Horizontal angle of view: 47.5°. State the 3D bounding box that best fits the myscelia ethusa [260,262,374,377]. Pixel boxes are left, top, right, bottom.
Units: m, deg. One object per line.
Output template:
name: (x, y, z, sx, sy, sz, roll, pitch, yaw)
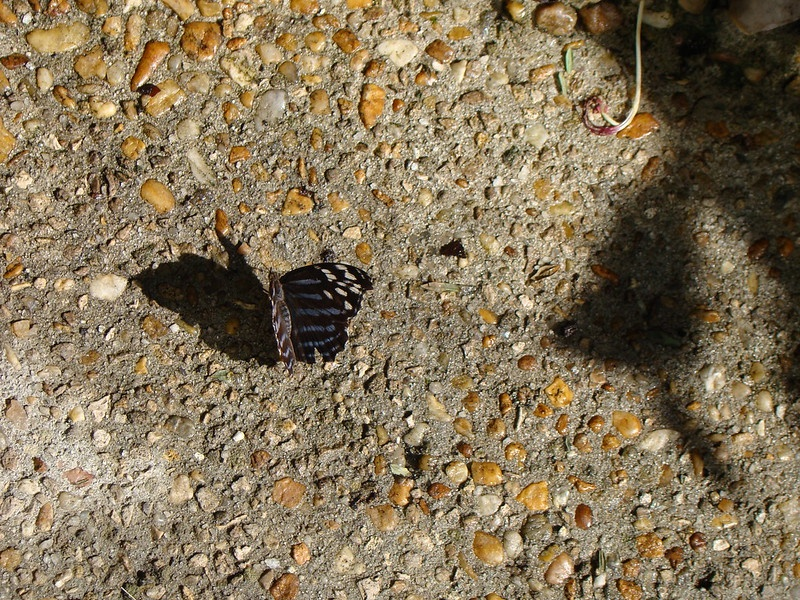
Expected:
myscelia ethusa: (-0.232, 0.020, 2.729, 0.363, 0.194, 0.302, -17, 98, -3)
